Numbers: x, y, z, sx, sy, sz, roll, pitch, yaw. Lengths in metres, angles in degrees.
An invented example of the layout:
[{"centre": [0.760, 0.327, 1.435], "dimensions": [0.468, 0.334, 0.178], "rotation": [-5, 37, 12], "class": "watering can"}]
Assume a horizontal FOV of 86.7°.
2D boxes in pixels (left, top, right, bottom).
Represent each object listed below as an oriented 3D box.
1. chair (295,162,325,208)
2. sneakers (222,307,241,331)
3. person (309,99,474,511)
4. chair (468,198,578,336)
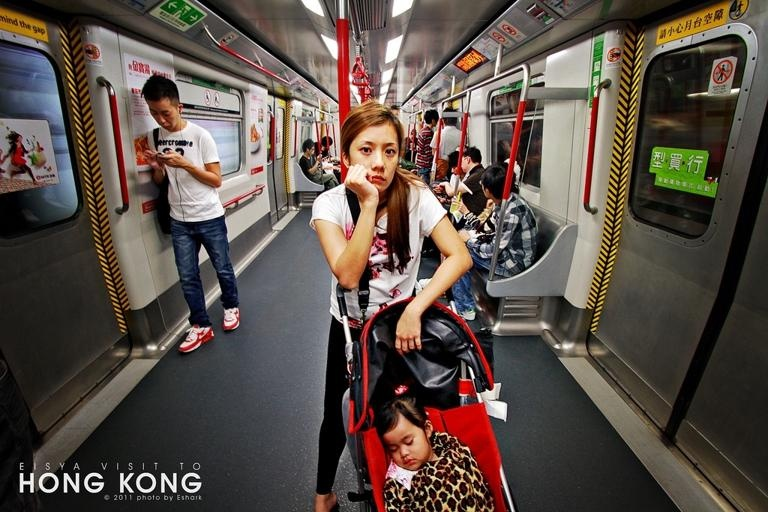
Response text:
[{"centre": [-2.040, -1.810, 10.437], "dimensions": [0.796, 1.056, 0.875], "rotation": [-7, 11, -34], "class": "chair"}, {"centre": [-1.821, 0.750, 4.816], "dimensions": [0.132, 0.141, 0.310], "rotation": [-3, 16, -2], "class": "sneakers"}, {"centre": [-0.036, 0.526, 2.624], "dimensions": [0.945, 2.857, 0.551], "rotation": [-3, 18, -11], "class": "person"}, {"centre": [1.716, -0.007, 5.389], "dimensions": [0.959, 1.263, 1.838], "rotation": [0, 19, 4], "class": "chair"}]
